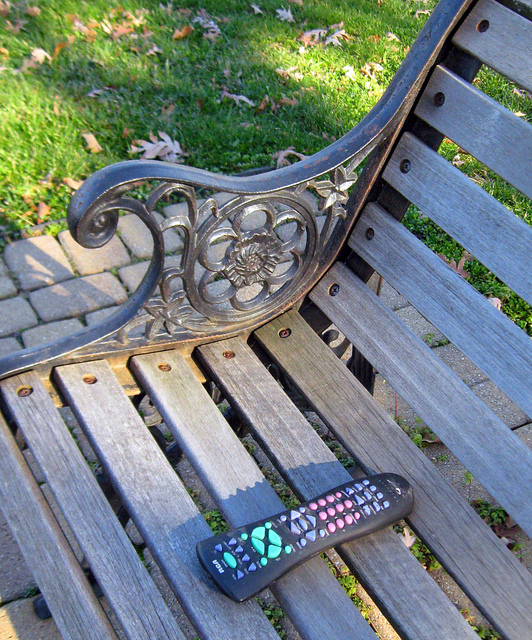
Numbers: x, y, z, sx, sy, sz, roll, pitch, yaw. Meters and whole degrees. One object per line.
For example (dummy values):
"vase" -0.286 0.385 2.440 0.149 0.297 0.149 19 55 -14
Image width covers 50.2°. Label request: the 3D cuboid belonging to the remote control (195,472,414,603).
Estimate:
"remote control" 0.078 0.303 0.838 0.358 0.045 0.095 -14 39 -28
